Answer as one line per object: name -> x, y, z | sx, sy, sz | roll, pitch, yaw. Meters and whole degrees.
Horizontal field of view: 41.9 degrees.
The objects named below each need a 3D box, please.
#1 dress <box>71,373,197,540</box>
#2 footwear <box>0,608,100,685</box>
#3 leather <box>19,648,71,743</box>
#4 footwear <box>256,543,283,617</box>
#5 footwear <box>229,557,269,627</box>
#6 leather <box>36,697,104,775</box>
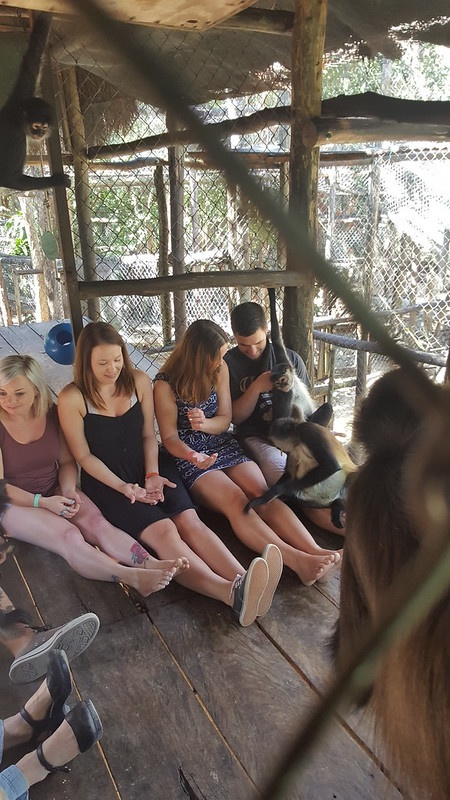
dress -> -0.351, 0.176, 2.587 | 0.369, 0.648, 0.618 | -31, 25, -27
footwear -> -0.551, 0.776, 1.831 | 0.111, 0.087, 0.247 | 14, 25, 38
leather -> -0.508, 0.816, 1.672 | 0.086, 0.251, 0.082 | -7, -4, 44
footwear -> 0.164, 0.628, 2.101 | 0.087, 0.267, 0.101 | 3, -1, -38
footwear -> 0.086, 0.671, 2.106 | 0.093, 0.287, 0.123 | -3, 14, -40
leather -> -0.396, 0.901, 1.623 | 0.242, 0.091, 0.067 | -37, -6, -20
